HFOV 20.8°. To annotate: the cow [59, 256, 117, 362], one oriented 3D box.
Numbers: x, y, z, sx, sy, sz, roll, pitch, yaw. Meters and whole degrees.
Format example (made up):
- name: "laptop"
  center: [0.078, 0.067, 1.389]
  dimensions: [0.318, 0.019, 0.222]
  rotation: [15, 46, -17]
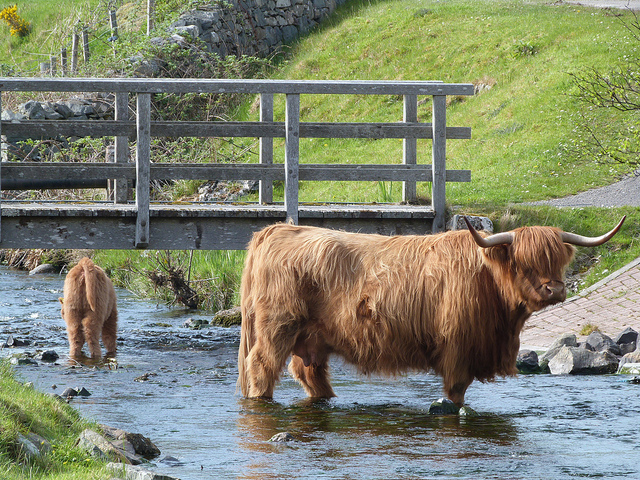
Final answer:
- name: "cow"
  center: [-4.598, 1.422, 34.100]
  dimensions: [0.687, 1.529, 2.545]
  rotation: [0, 1, -7]
